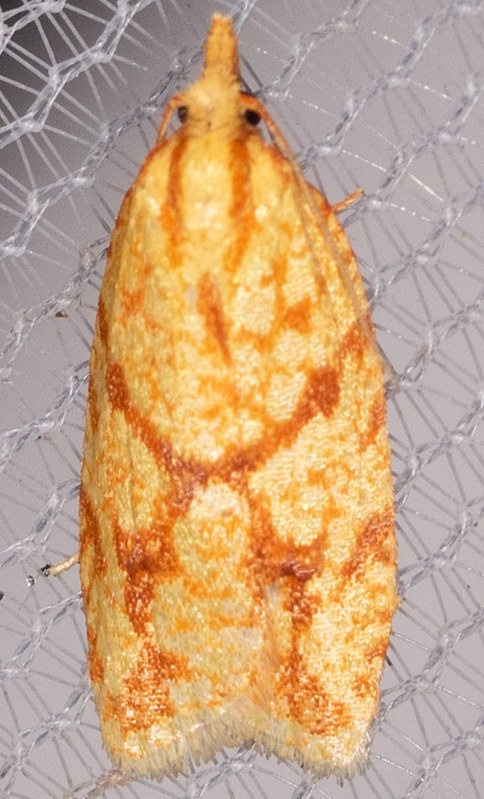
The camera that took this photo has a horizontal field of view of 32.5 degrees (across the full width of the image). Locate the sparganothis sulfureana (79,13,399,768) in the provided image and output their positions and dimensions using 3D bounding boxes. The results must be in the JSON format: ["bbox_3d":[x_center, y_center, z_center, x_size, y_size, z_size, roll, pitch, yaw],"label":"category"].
[{"bbox_3d":[-0.008,0.050,0.735,0.270,0.135,0.656,-1,100,8],"label":"sparganothis sulfureana"}]
